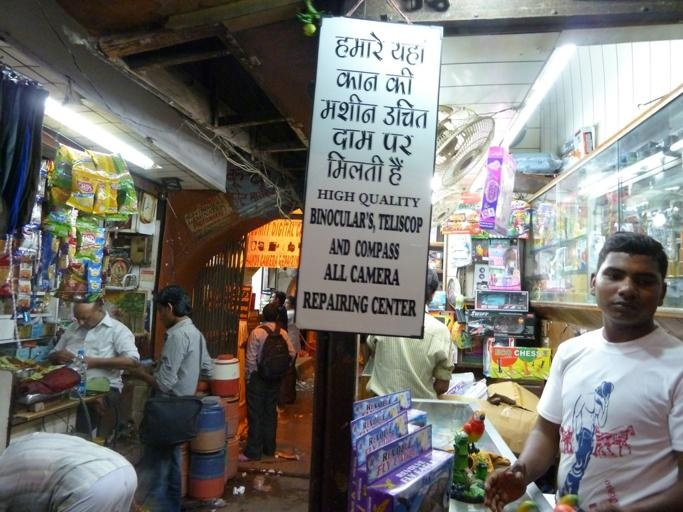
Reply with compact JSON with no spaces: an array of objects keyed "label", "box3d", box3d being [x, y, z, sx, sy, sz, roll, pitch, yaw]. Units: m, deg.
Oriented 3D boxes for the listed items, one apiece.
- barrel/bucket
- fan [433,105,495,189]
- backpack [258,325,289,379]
[{"label":"barrel/bucket","box3d":[-1.392,1.797,5.414,0.548,1.362,1.168,7,-18,-2]},{"label":"fan","box3d":[1.062,-0.967,4.606,0.689,0.192,0.737,-37,-15,-40]},{"label":"backpack","box3d":[-0.865,1.265,6.740,0.433,0.730,0.340,3,-7,-8]}]
